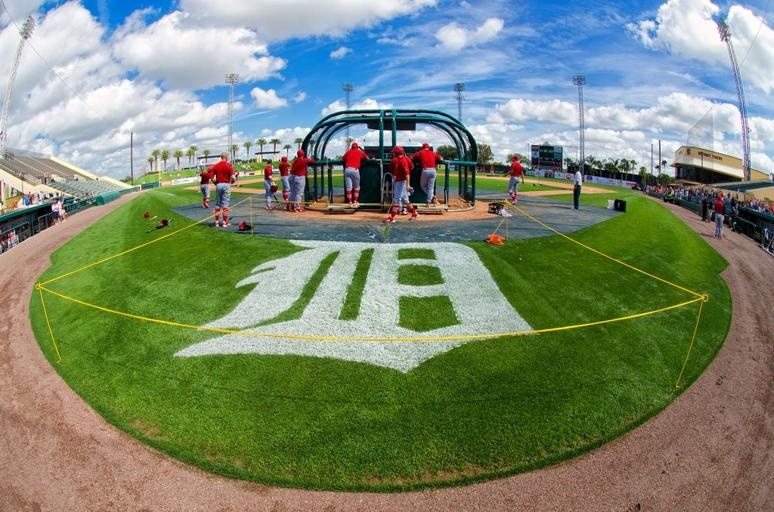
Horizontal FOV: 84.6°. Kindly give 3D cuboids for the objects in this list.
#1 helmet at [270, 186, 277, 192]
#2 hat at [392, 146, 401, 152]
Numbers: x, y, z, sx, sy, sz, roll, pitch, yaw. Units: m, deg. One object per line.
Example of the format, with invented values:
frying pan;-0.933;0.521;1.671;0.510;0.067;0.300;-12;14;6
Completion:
helmet;-6.859;-4.249;26.088;0.462;0.301;0.410;6;11;22
hat;0.537;-5.122;20.259;0.343;0.285;0.565;-1;4;-7
